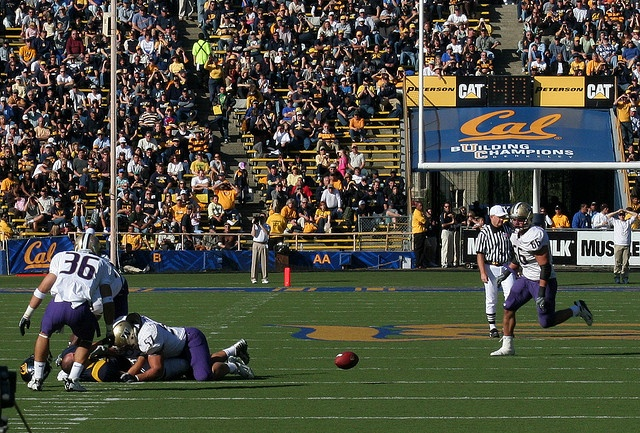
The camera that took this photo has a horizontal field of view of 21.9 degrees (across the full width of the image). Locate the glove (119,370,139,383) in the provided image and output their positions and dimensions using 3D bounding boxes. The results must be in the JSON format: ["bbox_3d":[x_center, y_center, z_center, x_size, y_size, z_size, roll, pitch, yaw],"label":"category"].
[{"bbox_3d":[-4.037,3.407,34.841,0.475,0.207,0.170,2,7,-8],"label":"glove"}]

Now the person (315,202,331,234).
[{"bbox_3d":[0.057,0.000,49.118,0.489,0.880,0.747,-1,14,0],"label":"person"}]

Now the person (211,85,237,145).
[{"bbox_3d":[-3.113,-3.278,52.937,0.725,1.647,1.106,-2,14,-4],"label":"person"}]

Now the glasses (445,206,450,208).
[{"bbox_3d":[3.752,-0.277,48.840,0.131,0.104,0.070,-3,14,-8],"label":"glasses"}]

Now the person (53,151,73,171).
[{"bbox_3d":[-7.953,-1.698,50.660,0.869,0.782,0.491,1,-2,-12],"label":"person"}]

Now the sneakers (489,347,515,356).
[{"bbox_3d":[4.009,2.964,36.424,0.535,0.192,0.184,1,3,0],"label":"sneakers"}]

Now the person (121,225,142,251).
[{"bbox_3d":[-5.596,0.659,48.736,0.580,0.554,0.901,3,14,15],"label":"person"}]

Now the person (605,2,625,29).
[{"bbox_3d":[9.694,-6.692,54.354,0.678,0.797,0.323,1,-20,3],"label":"person"}]

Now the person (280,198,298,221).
[{"bbox_3d":[-0.918,-0.216,49.254,0.639,0.866,0.551,1,-4,-9],"label":"person"}]

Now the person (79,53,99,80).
[{"bbox_3d":[-7.593,-4.986,54.093,0.640,0.778,0.774,-6,14,-19],"label":"person"}]

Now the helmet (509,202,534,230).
[{"bbox_3d":[4.384,-0.078,36.182,0.458,0.490,0.580,-5,27,33],"label":"helmet"}]

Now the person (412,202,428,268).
[{"bbox_3d":[2.919,0.520,48.879,0.392,1.953,0.330,-1,14,2],"label":"person"}]

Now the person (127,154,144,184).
[{"bbox_3d":[-5.852,-1.476,50.796,0.848,1.035,0.609,0,-4,-9],"label":"person"}]

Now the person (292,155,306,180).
[{"bbox_3d":[-0.640,-1.548,50.663,0.404,0.368,0.708,8,38,-14],"label":"person"}]

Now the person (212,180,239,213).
[{"bbox_3d":[-2.924,-0.627,50.030,0.827,0.956,0.500,-4,-22,-13],"label":"person"}]

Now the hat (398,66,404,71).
[{"bbox_3d":[2.582,-4.813,53.331,0.195,0.101,0.285,1,0,0],"label":"hat"}]

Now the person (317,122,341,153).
[{"bbox_3d":[0.220,-2.451,51.584,0.771,0.948,0.623,-1,2,-14],"label":"person"}]

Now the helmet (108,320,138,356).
[{"bbox_3d":[-4.092,2.525,34.485,0.647,0.478,0.556,39,-25,9],"label":"helmet"}]

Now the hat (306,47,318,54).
[{"bbox_3d":[-0.261,-5.445,53.820,0.266,0.182,0.377,-1,-4,-6],"label":"hat"}]

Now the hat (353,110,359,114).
[{"bbox_3d":[1.129,-3.308,52.013,0.101,0.135,0.076,3,-14,5],"label":"hat"}]

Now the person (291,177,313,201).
[{"bbox_3d":[-0.558,-0.842,50.040,0.752,0.984,0.585,0,-18,-8],"label":"person"}]

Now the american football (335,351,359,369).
[{"bbox_3d":[0.536,3.024,35.314,0.394,0.215,0.400,-20,-26,39],"label":"american football"}]

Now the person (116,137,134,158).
[{"bbox_3d":[-6.106,-2.141,51.204,0.474,0.611,1.098,-2,14,-6],"label":"person"}]

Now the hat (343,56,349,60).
[{"bbox_3d":[0.805,-5.140,53.271,0.187,0.124,0.194,-14,18,-42],"label":"hat"}]

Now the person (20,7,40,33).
[{"bbox_3d":[-9.842,-6.657,55.918,0.571,0.862,1.410,-4,14,-10],"label":"person"}]

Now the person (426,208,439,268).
[{"bbox_3d":[3.364,0.601,49.449,0.387,1.703,0.800,0,14,4],"label":"person"}]

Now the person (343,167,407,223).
[{"bbox_3d":[1.559,-0.622,49.669,1.651,1.570,0.398,1,-11,-4],"label":"person"}]

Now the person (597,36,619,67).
[{"bbox_3d":[9.286,-5.344,53.064,0.714,0.893,0.571,11,18,42],"label":"person"}]

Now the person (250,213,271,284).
[{"bbox_3d":[-1.678,0.876,45.483,0.528,2.156,1.024,-2,14,-2],"label":"person"}]

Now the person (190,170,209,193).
[{"bbox_3d":[-3.695,-1.091,50.514,0.606,0.763,0.645,0,15,-7],"label":"person"}]

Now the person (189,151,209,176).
[{"bbox_3d":[-3.750,-1.615,51.001,0.829,0.995,0.627,-2,-4,-5],"label":"person"}]

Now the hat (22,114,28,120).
[{"bbox_3d":[-9.406,-3.174,52.502,0.273,0.120,0.166,0,9,1],"label":"hat"}]

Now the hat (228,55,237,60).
[{"bbox_3d":[-2.870,-5.231,53.748,0.324,0.148,0.202,-1,14,-2],"label":"hat"}]

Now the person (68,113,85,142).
[{"bbox_3d":[-7.642,-2.819,51.890,0.439,0.869,0.669,-9,16,-31],"label":"person"}]

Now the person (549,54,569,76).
[{"bbox_3d":[7.671,-4.876,52.902,0.794,0.938,0.555,0,-34,9],"label":"person"}]

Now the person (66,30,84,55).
[{"bbox_3d":[-8.138,-5.786,54.574,0.584,0.818,0.424,-3,14,-9],"label":"person"}]

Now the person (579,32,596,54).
[{"bbox_3d":[8.662,-5.644,53.426,0.659,0.877,0.484,-2,-22,11],"label":"person"}]

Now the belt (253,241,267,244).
[{"bbox_3d":[-1.647,0.696,45.250,0.362,0.057,0.149,-3,14,-10],"label":"belt"}]

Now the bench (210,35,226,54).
[{"bbox_3d":[-3.410,-5.755,54.952,0.485,0.622,1.144,-3,-12,3],"label":"bench"}]

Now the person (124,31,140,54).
[{"bbox_3d":[-6.322,-5.811,54.876,0.610,0.720,0.310,-1,-6,-12],"label":"person"}]
